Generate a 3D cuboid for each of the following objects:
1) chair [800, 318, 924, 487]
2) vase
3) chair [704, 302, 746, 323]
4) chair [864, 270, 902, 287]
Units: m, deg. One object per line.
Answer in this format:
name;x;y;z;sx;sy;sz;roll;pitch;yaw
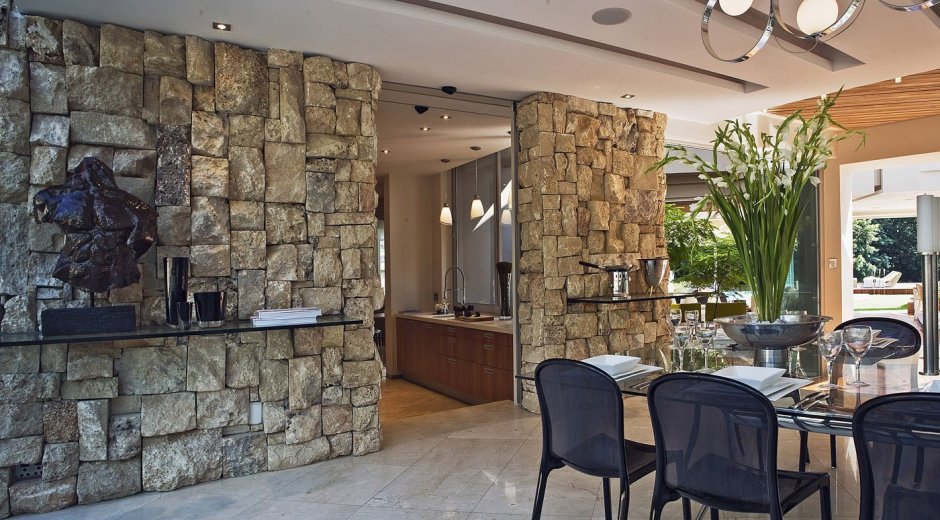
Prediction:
chair;2.608;0.921;3.857;0.511;0.321;1.550;0;3;37
vase;2.233;0.668;4.405;0.586;0.289;0.557;-6;-4;-34
chair;2.691;0.555;6.144;0.256;0.140;0.120;-2;-2;-12
chair;12.650;0.653;17.826;1.210;0.512;0.836;-1;-3;30
